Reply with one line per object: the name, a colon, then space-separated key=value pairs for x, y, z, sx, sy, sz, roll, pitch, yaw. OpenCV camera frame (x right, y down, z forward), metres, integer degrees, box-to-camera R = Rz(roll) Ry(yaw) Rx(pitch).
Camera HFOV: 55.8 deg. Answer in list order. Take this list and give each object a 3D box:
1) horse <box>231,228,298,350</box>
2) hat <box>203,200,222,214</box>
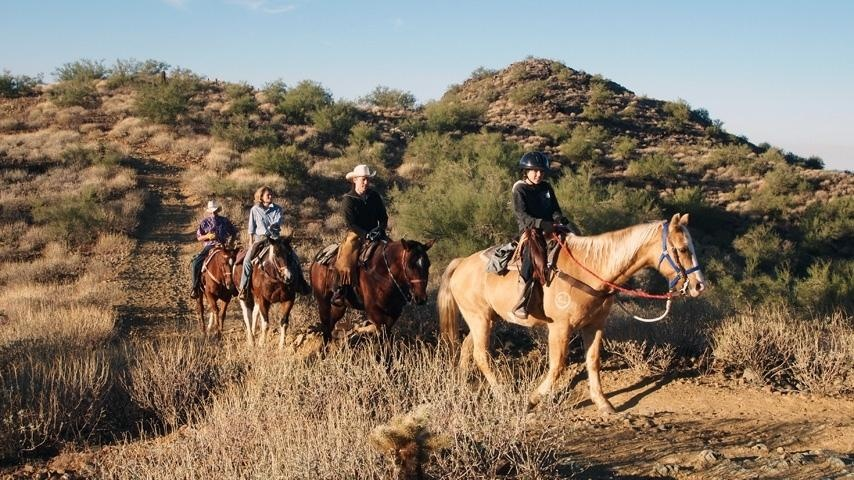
horse: x=-6.133 y=2.032 z=31.046 sx=1.941 sy=4.242 sz=3.260 roll=10 pitch=-21 yaw=-37
hat: x=-9.315 y=-1.459 z=35.286 sx=0.869 sy=0.351 sz=0.762 roll=-20 pitch=4 yaw=13
